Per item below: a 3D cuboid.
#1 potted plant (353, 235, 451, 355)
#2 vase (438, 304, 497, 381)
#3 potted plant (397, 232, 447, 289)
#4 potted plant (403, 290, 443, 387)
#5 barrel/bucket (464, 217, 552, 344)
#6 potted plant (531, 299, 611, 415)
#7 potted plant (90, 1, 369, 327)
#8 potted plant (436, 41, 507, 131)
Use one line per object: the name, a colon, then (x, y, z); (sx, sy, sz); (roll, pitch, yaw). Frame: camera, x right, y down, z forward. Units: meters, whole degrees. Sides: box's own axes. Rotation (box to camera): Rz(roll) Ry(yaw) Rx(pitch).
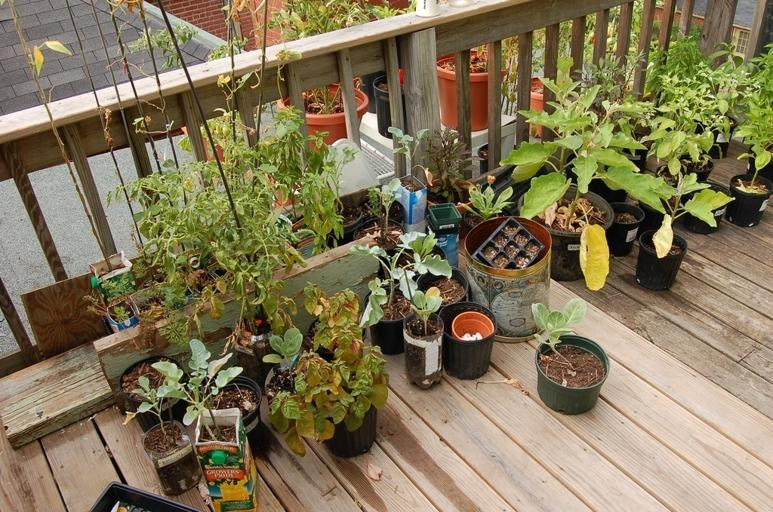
potted plant: (0.072, 0.207, 2.440); (0.372, 0.385, 0.353); (-23, 46, -21)
vase: (0.401, 0.416, 2.499); (0.262, 0.311, 0.237); (-2, 32, 6)
potted plant: (0.194, 0.040, 2.423); (0.262, 0.098, 0.260); (-27, 52, 21)
potted plant: (0.177, 0.376, 2.409); (0.187, 0.506, 0.233); (-2, 32, 5)
barrel/bucket: (0.608, 0.153, 2.822); (0.577, 0.647, 0.601); (-7, 43, 6)
potted plant: (0.840, 0.485, 2.392); (0.322, 0.415, 0.414); (-17, 34, -12)
potted plant: (-0.628, -0.444, 2.265); (0.900, 1.342, 0.946); (-4, 32, 3)
potted plant: (0.626, -1.363, 4.112); (0.799, 0.648, 0.828); (-2, 31, 3)
